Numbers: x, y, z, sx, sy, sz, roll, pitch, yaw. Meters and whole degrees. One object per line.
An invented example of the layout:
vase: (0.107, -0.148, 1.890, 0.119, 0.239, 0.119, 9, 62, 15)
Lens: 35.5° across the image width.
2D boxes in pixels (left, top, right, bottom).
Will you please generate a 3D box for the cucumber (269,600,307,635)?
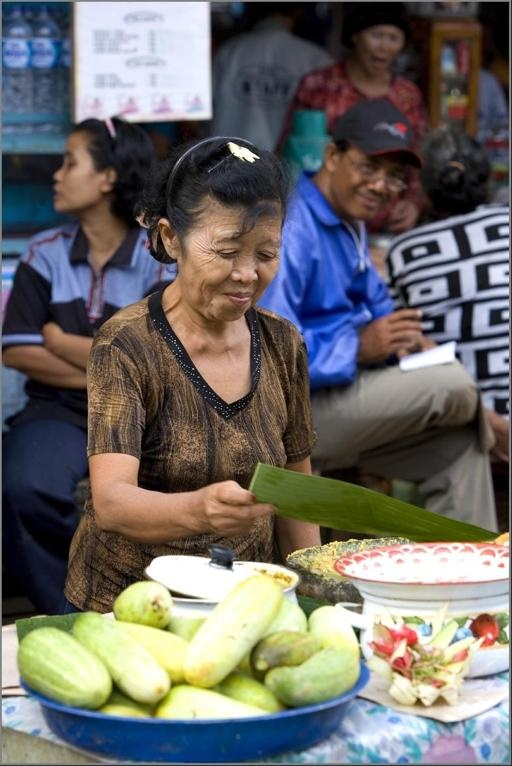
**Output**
cucumber: (0.037, 0.261, 0.882, 0.036, 0.016, 0.034, 14, -5, -28)

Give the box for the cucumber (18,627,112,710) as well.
cucumber: (-0.192, 0.290, 0.807, 0.105, 0.050, 0.055, 33, 13, 33)

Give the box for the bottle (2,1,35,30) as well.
bottle: (-0.864, -1.332, 2.909, 0.095, 0.083, 0.069, -7, 6, -31)

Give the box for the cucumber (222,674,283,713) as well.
cucumber: (-0.001, 0.315, 0.820, 0.055, 0.026, 0.025, 23, 56, 25)

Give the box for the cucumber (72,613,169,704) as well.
cucumber: (-0.139, 0.284, 0.869, 0.050, 0.044, 0.137, -31, 45, -22)

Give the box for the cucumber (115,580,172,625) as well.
cucumber: (-0.126, 0.258, 0.926, 0.045, 0.043, 0.058, -10, -3, -32)

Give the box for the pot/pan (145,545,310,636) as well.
pot/pan: (-0.054, 0.255, 1.017, 0.104, 0.045, 0.123, 3, -1, -37)

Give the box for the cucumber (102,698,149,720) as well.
cucumber: (-0.128, 0.325, 0.794, 0.040, 0.018, 0.012, 14, 36, -10)

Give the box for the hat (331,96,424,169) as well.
hat: (0.366, -0.777, 2.481, 0.202, 0.132, 0.260, 2, 17, -32)

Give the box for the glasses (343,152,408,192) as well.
glasses: (0.378, -0.644, 2.432, 0.127, 0.051, 0.159, 6, -11, -12)

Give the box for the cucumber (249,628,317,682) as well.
cucumber: (0.028, 0.278, 0.823, 0.070, 0.037, 0.039, -8, -11, -28)

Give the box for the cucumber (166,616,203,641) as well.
cucumber: (-0.080, 0.284, 0.927, 0.031, 0.021, 0.029, 2, 2, 2)

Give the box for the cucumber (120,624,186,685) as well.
cucumber: (-0.108, 0.286, 0.857, 0.037, 0.025, 0.074, 0, 18, -45)
